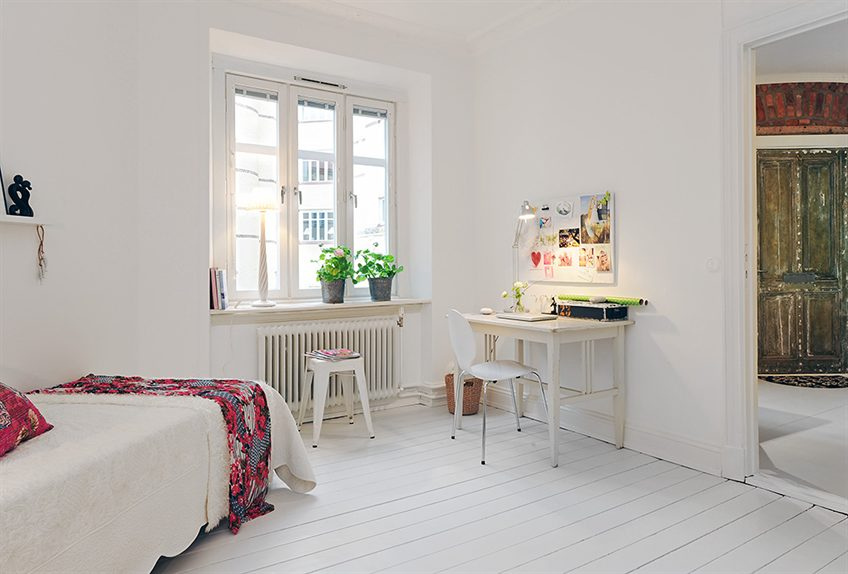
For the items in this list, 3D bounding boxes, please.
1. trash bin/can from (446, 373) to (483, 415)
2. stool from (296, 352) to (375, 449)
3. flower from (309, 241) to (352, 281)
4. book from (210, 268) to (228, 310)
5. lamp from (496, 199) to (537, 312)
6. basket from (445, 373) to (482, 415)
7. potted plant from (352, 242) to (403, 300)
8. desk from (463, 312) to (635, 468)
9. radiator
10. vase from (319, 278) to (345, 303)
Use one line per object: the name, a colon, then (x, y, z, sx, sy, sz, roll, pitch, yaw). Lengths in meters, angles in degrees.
trash bin/can: (0.395, 0.969, 5.174, 0.375, 0.376, 0.321, 1, 0, -32)
stool: (-0.776, 0.887, 4.561, 0.712, 0.784, 0.701, 1, -6, -26)
flower: (-0.845, -0.210, 5.108, 0.333, 0.235, 0.338, -4, -7, 39)
book: (-1.625, 0.023, 4.448, 0.194, 0.311, 0.331, 0, 2, -14)
lamp: (0.835, -0.237, 4.832, 0.218, 0.984, 0.536, 10, 12, 8)
basket: (0.362, 0.969, 5.171, 0.374, 0.375, 0.320, 1, 0, -32)
potted plant: (-0.441, -0.128, 5.193, 0.471, 0.463, 0.459, 2, -6, -23)
desk: (0.936, 0.470, 4.635, 0.935, 1.229, 1.771, -3, 3, -25)
radiator: (-0.829, 0.675, 4.703, 0.924, 0.600, 0.098, 0, 0, -32)
vase: (-0.804, 0.042, 4.995, 0.214, 0.163, 0.202, 2, -7, -20)
